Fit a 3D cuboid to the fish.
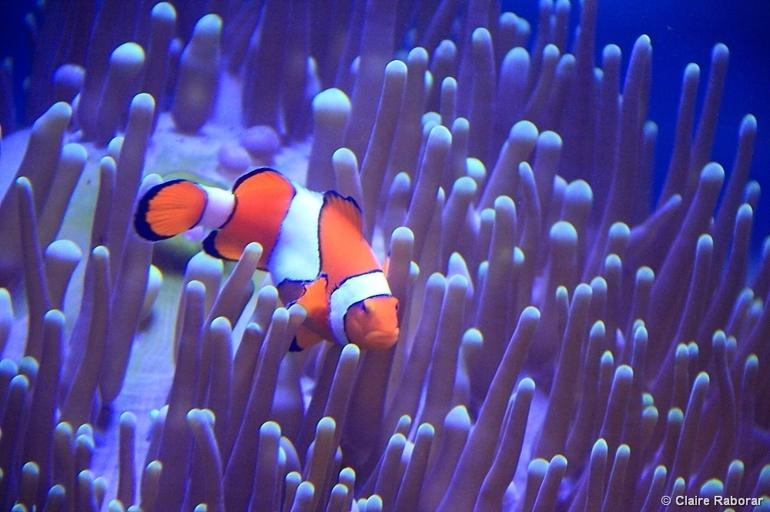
[{"bbox_3d":[-0.223,-0.027,2.091,0.583,0.256,0.322,32,-62,-11],"label":"fish"}]
